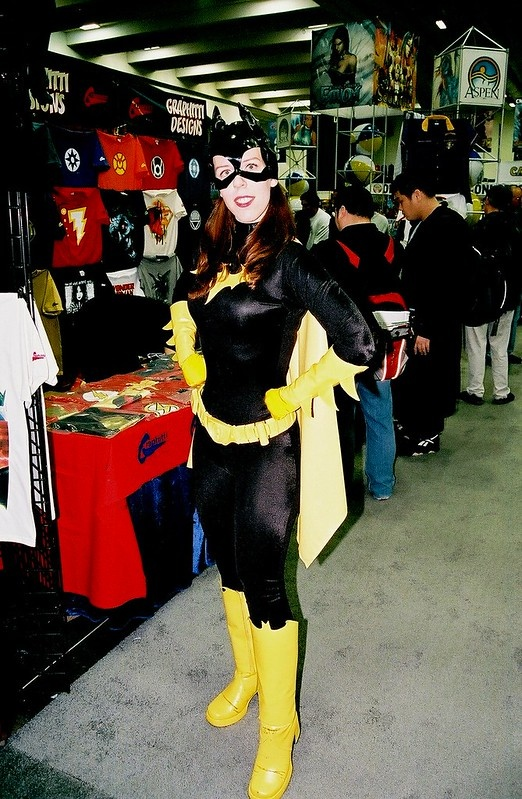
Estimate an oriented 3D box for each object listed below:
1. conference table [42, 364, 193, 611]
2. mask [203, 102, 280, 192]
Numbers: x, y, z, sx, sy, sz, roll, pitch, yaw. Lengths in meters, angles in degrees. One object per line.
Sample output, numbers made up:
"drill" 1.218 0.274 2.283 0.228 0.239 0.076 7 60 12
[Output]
"conference table" -0.521 0.276 2.145 0.523 0.602 1.026 5 12 13
"mask" -0.045 -0.510 1.114 0.140 0.160 0.123 3 9 20
